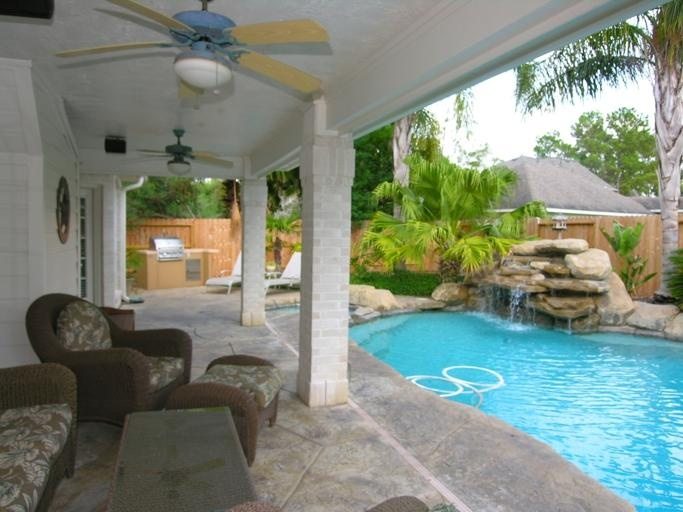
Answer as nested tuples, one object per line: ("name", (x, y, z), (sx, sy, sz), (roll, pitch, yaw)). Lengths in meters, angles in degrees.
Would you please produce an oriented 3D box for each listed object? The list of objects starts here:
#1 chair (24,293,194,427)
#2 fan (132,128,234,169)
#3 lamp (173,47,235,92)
("chair", (-2.003, 0.884, 4.101), (1.261, 1.043, 1.020), (3, 4, 17))
("fan", (-2.025, -1.354, 5.923), (1.102, 0.518, 1.227), (2, 3, -4))
("lamp", (-0.901, -1.182, 3.059), (0.298, 0.233, 0.267), (4, 1, -3))
